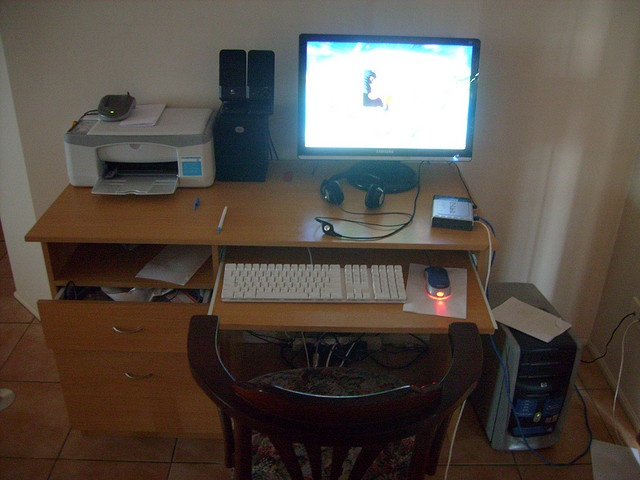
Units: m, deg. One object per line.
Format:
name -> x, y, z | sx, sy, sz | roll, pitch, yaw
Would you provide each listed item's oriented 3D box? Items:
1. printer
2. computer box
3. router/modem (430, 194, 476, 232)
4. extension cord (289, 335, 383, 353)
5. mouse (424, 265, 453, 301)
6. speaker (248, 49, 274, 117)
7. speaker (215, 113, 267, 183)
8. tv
printer -> -0.713, -0.341, 2.207 | 0.567, 0.232, 0.428 | 0, 32, -1
computer box -> 0.800, 0.557, 2.345 | 0.394, 0.665, 0.390 | 1, 28, 0
router/modem -> 0.513, -0.108, 2.087 | 0.159, 0.078, 0.170 | 6, 25, 9
extension cord -> 0.062, 0.513, 2.699 | 0.172, 0.028, 0.148 | 27, 30, 38
mouse -> 0.434, 0.146, 2.001 | 0.098, 0.043, 0.185 | 6, 28, 4
speaker -> -0.239, -0.639, 2.215 | 0.108, 0.238, 0.108 | -2, 25, -7
speaker -> -0.317, -0.381, 2.225 | 0.206, 0.276, 0.188 | -4, 31, -8
tv -> 0.269, -0.529, 2.203 | 0.737, 0.503, 0.058 | 0, 18, 0
